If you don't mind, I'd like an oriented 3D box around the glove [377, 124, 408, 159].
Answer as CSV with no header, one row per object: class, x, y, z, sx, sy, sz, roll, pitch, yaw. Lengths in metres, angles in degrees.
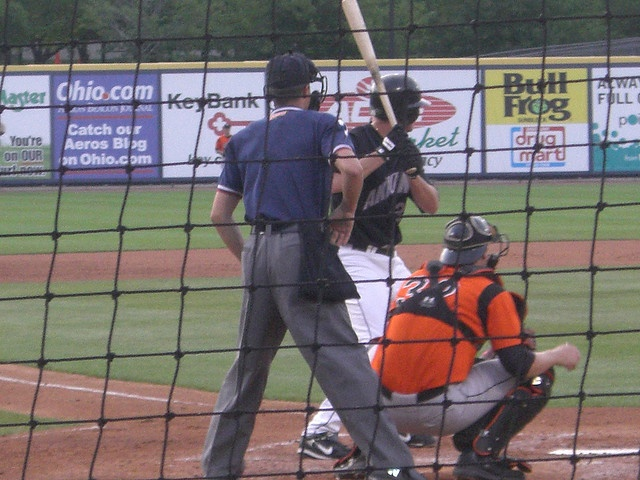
glove,1.261,-1.674,26.951,0.452,0.629,0.210,47,-2,25
